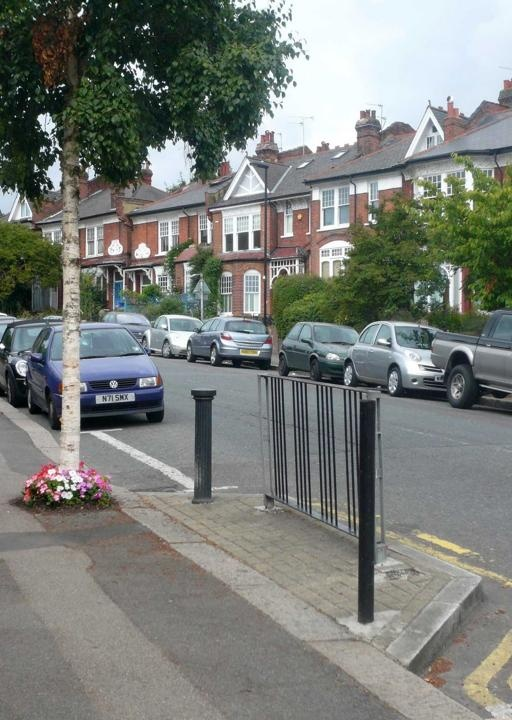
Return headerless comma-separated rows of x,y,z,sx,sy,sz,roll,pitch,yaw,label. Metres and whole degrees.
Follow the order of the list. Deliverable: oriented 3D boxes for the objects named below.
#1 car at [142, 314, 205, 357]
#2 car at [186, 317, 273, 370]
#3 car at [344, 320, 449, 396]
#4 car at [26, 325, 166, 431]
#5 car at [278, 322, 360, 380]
-2.735,-0.792,29.975,1.117,1.082,2.049,1,1,-30,car
-0.851,-0.523,26.239,1.180,1.186,2.385,2,5,-20,car
2.946,-0.040,17.867,1.119,1.251,2.202,2,-2,-24,car
-2.315,0.131,12.672,1.041,1.060,2.180,-1,-1,-24,car
1.532,-0.224,20.777,1.112,1.130,2.076,2,-2,-22,car
